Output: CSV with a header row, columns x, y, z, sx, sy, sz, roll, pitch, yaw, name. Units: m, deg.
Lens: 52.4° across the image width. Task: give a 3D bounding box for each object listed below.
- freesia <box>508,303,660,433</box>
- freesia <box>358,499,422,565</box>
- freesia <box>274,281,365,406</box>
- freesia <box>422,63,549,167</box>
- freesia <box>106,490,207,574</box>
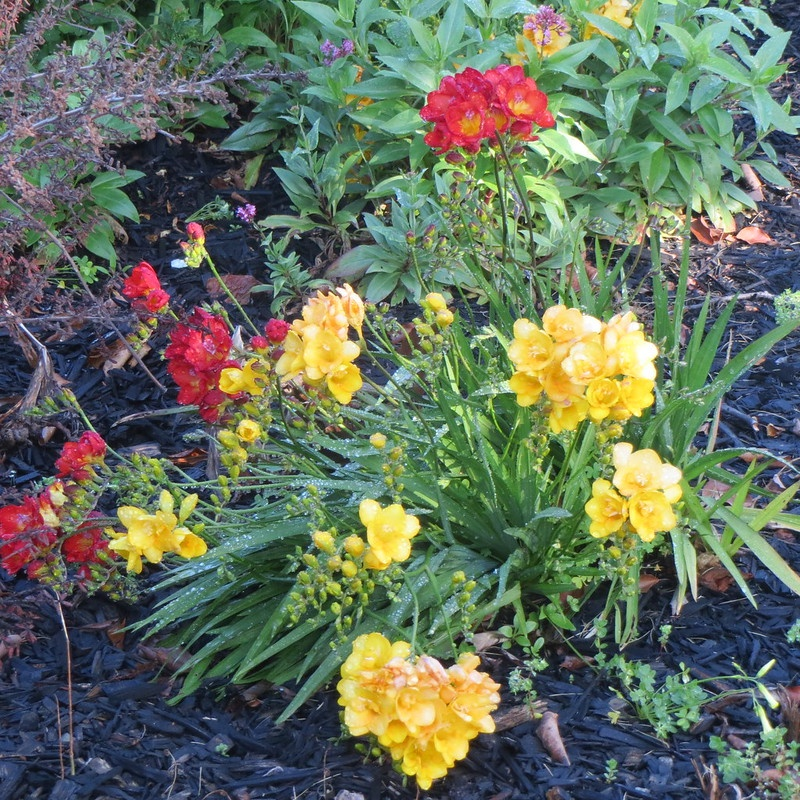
x,y,z,sx,sy,sz,roll,pitch,yaw,name
0.356,-0.052,1.614,0.335,0.161,0.242,9,83,1,freesia
-0.019,0.273,1.640,0.107,0.163,0.128,-6,71,-3,freesia
-0.180,-0.123,1.740,0.126,0.247,0.238,-15,71,-37,freesia
0.200,-0.711,2.021,0.300,0.247,0.189,-24,73,-9,freesia
-0.503,0.270,1.691,0.137,0.236,0.156,18,82,22,freesia
